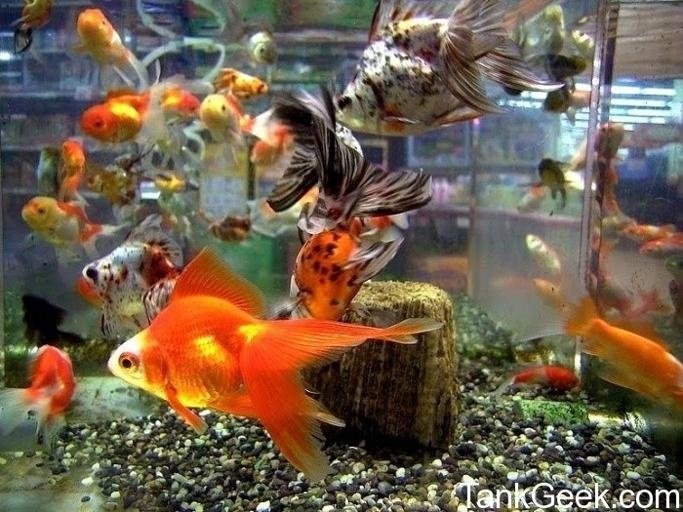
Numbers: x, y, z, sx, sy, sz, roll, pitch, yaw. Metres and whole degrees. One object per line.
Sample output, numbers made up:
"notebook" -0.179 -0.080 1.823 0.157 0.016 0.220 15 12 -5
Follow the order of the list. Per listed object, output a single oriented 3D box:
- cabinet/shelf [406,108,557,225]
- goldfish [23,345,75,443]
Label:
"cabinet/shelf" 0.886 -0.616 4.237 1.120 0.613 0.369 4 12 36
"goldfish" -1.241 0.568 2.906 0.229 0.392 0.181 10 18 25
